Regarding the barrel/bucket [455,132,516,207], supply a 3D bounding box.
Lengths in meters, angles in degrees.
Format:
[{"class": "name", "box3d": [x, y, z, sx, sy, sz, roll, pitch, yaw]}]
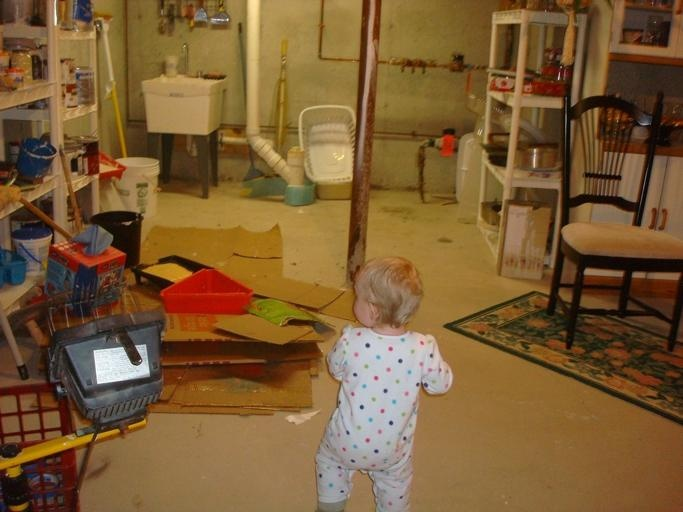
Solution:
[{"class": "barrel/bucket", "box3d": [1.439, -0.898, 5.619, 0.404, 0.622, 0.326, 5, -11, 6]}]

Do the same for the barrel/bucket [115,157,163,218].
[{"class": "barrel/bucket", "box3d": [-1.921, -0.619, 5.137, 0.470, 0.480, 0.428, 1, 9, 0]}]

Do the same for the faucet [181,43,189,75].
[{"class": "faucet", "box3d": [-1.844, -2.322, 6.396, 0.125, 0.348, 0.062, -1, 17, -8]}]

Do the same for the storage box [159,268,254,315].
[{"class": "storage box", "box3d": [-0.803, 0.235, 3.285, 0.364, 0.095, 0.359, -1, 18, -5]}]

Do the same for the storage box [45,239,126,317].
[{"class": "storage box", "box3d": [-1.564, 0.114, 3.302, 0.387, 0.349, 0.385, 25, 20, 21]}]

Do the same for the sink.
[{"class": "sink", "box3d": [-1.671, -1.530, 5.864, 0.750, 0.452, 0.732, 1, 24, -4]}]

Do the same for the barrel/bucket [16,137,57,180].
[{"class": "barrel/bucket", "box3d": [-1.835, -0.592, 3.313, 0.191, 0.230, 0.316, 3, 16, 3]}]
